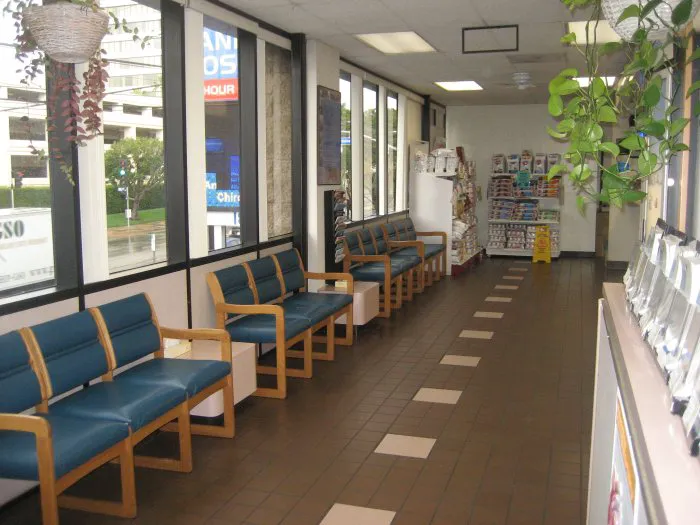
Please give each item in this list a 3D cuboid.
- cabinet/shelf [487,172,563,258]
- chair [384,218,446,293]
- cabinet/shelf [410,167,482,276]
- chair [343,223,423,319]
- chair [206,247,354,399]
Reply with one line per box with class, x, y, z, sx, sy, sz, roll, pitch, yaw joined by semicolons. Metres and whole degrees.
cabinet/shelf;4.182;-1.122;12.333;1.836;2.197;1.218;2;8;22
chair;1.259;-0.205;9.770;0.757;1.236;1.281;0;11;29
cabinet/shelf;1.882;-0.833;10.618;0.813;1.616;2.290;-1;5;14
chair;0.849;-0.060;8.437;0.765;1.318;2.131;3;14;36
chair;-0.647;0.522;5.542;0.785;1.153;1.876;1;8;19
